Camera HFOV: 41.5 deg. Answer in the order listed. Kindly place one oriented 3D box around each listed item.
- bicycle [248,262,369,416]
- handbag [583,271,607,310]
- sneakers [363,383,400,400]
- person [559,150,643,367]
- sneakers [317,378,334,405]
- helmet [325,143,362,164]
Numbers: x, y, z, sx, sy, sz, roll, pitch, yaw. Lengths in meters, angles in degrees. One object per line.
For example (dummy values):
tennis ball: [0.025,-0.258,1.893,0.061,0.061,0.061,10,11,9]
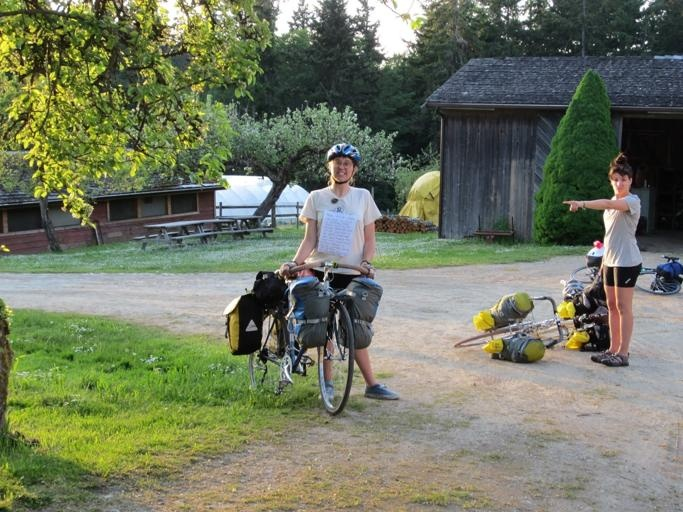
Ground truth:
bicycle: [-0.585,0.870,9.594,0.899,1.176,1.928,13,-16,-33]
handbag: [3.211,0.466,11.385,0.273,0.517,0.354,21,-7,14]
sneakers: [0.425,1.456,9.589,0.367,0.143,0.145,2,0,10]
person: [3.217,0.057,10.634,0.601,2.490,0.756,7,13,27]
sneakers: [-0.168,1.427,9.367,0.182,0.233,0.535,0,-12,-3]
helmet: [0.036,-1.060,9.394,0.292,0.149,0.408,5,10,7]
